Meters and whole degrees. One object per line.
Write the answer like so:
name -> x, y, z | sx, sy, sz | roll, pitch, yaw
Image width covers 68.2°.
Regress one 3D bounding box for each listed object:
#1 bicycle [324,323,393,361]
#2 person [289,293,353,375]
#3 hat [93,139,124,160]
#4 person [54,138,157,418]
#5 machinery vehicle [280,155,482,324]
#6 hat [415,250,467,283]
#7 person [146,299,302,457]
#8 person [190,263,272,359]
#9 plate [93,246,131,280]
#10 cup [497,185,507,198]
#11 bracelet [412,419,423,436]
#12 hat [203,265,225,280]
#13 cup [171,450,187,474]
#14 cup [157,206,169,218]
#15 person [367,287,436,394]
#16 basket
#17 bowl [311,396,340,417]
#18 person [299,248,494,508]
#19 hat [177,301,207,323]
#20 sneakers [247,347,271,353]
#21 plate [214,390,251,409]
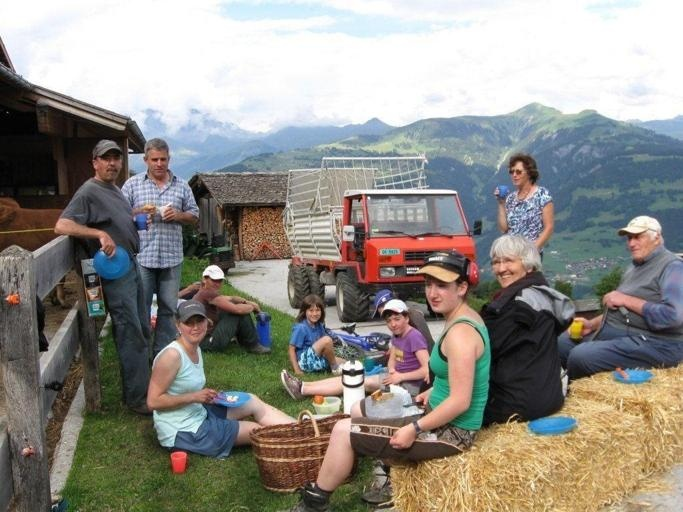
bicycle -> 0.297, 1.249, 7.323 | 0.906, 0.496, 0.399 | 3, 7, 36
person -> -0.266, 1.013, 6.636 | 0.832, 1.028, 0.660 | -1, 1, 7
hat -> -2.260, -1.039, 4.867 | 0.314, 0.182, 0.158 | 0, 5, 21
person -> -2.319, 0.230, 4.969 | 0.762, 2.743, 0.644 | -4, 5, -25
machinery vehicle -> 0.486, -0.417, 12.086 | 2.822, 3.319, 5.796 | -2, 6, -22
hat -> 0.634, 0.042, 3.096 | 0.191, 0.131, 0.258 | 9, 11, 34
person -> -0.888, 1.148, 4.558 | 1.662, 1.209, 0.758 | 7, -1, -3
person -> -1.649, 0.778, 7.635 | 1.196, 1.206, 0.908 | 0, 4, -25
plate -> -2.214, 0.065, 4.893 | 0.343, 0.332, 0.242 | -4, 5, -24
cup -> 2.098, -0.851, 6.604 | 0.123, 0.129, 0.125 | 9, -33, 6
bracelet -> 0.457, 1.036, 3.068 | 0.061, 0.093, 0.096 | -14, -31, -6
hat -> -1.862, 0.235, 7.282 | 0.327, 0.185, 0.236 | 0, -3, 43
cup -> -1.330, 1.705, 4.196 | 0.156, 0.123, 0.150 | -2, -4, 0
cup -> -1.925, -0.480, 5.444 | 0.086, 0.117, 0.122 | -6, 6, -43
person -> 0.552, 0.970, 5.375 | 0.873, 1.052, 0.727 | -5, 2, -8
basket -> -0.269, 1.503, 3.989 | 0.776, 0.463, 0.480 | -1, 0, -35
bowl -> -0.147, 1.457, 4.968 | 0.232, 0.152, 0.232 | -1, -10, 0
person -> 0.414, 0.782, 3.231 | 1.025, 1.611, 0.451 | 0, 5, 18
hat -> -1.280, 0.445, 4.267 | 0.167, 0.221, 0.225 | -5, -18, -28
sneakers -> -1.218, 1.390, 7.483 | 0.329, 0.135, 0.112 | -2, 0, 0
plate -> -0.984, 1.291, 4.572 | 0.217, 0.048, 0.214 | 1, 6, 17
